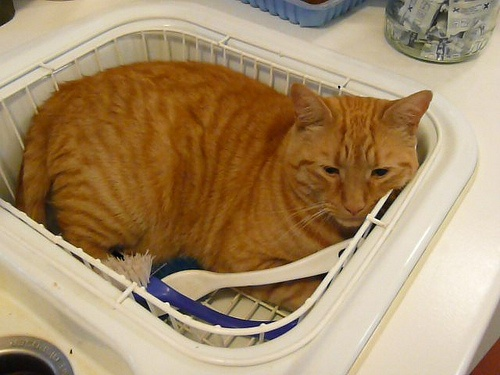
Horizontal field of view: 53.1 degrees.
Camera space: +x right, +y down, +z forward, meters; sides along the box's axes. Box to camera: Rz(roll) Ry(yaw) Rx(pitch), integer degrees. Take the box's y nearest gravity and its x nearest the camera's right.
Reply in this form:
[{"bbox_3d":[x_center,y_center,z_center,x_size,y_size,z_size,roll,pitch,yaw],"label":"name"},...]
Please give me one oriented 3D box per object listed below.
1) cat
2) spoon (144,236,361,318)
[{"bbox_3d":[-0.068,0.006,1.380,0.842,0.438,0.611,9,54,10],"label":"cat"},{"bbox_3d":[0.014,0.207,1.155,0.437,0.052,0.074,-23,85,13],"label":"spoon"}]
